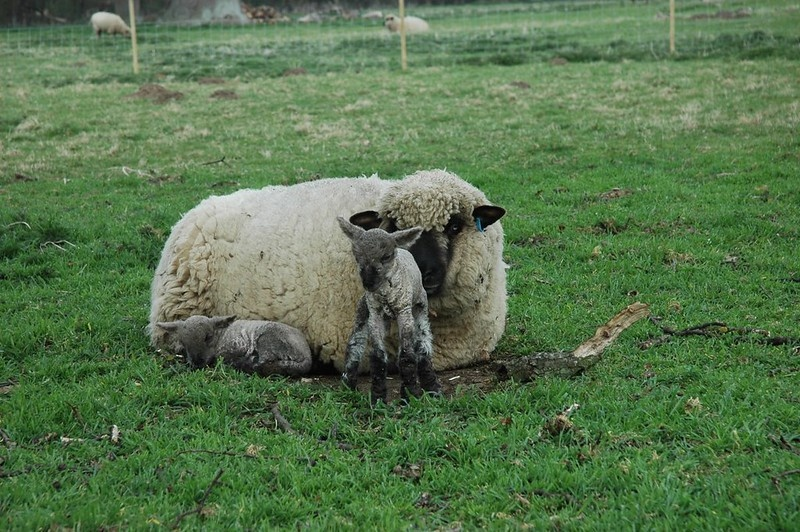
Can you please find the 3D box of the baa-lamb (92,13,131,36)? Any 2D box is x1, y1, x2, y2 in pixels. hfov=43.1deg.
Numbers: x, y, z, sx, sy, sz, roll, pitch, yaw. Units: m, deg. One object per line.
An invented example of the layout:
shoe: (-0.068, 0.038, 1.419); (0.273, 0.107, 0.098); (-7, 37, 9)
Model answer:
baa-lamb: (-8.080, -6.724, 28.172); (0.928, 0.617, 0.583); (6, 16, 25)

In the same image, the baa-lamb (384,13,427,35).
baa-lamb: (0.196, -7.128, 30.000); (1.099, 0.557, 0.499); (0, 3, -8)
